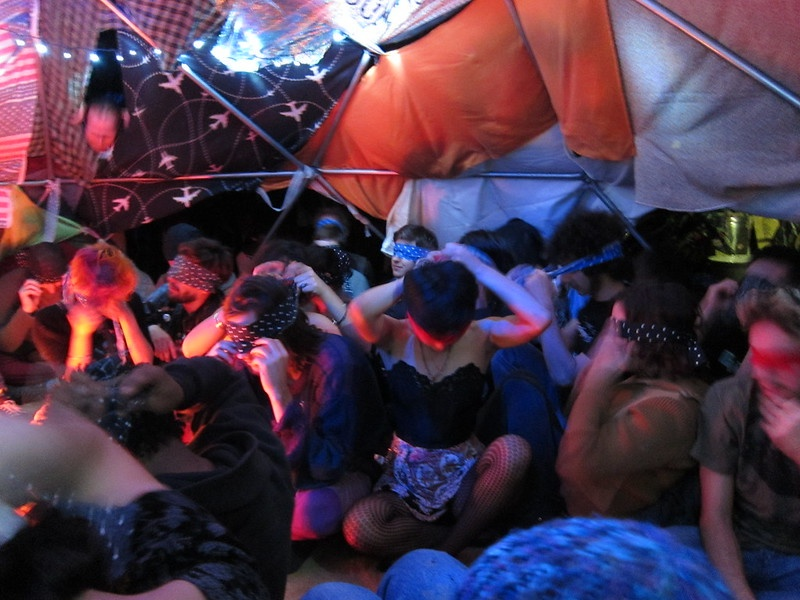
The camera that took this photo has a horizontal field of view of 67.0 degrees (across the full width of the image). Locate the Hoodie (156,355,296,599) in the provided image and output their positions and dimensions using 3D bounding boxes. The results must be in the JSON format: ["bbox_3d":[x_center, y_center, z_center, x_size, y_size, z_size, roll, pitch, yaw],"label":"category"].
[{"bbox_3d":[-0.553,0.521,2.115,0.329,0.593,0.748,-2,37,-44],"label":"Hoodie"}]
